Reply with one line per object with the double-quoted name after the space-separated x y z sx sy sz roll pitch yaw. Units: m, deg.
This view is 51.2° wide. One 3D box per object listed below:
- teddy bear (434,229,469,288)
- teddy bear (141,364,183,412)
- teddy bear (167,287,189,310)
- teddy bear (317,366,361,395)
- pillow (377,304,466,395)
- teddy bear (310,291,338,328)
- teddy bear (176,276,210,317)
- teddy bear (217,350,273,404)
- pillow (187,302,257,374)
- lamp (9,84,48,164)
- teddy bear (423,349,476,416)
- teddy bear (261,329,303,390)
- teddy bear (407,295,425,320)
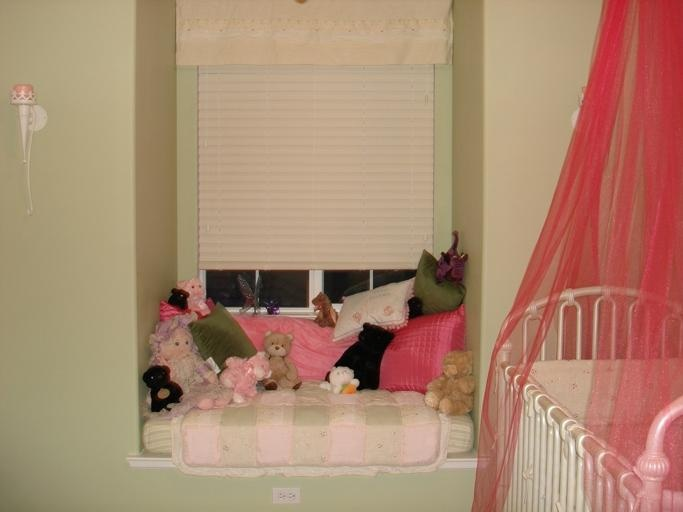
0.614 0.003 3.953 0.195 0.297 0.125 -2 -6 21 "teddy bear"
-0.925 0.690 3.712 0.204 0.244 0.132 0 -6 3 "teddy bear"
-0.907 0.242 3.988 0.079 0.118 0.125 -2 -7 24 "teddy bear"
-0.020 0.654 3.913 0.180 0.144 0.207 3 11 4 "teddy bear"
0.438 0.518 3.863 0.136 0.467 0.449 26 -25 -36 "pillow"
-0.087 0.321 4.278 0.166 0.220 0.161 5 14 17 "teddy bear"
-0.844 0.251 4.133 0.169 0.256 0.140 -12 2 -30 "teddy bear"
-0.496 0.611 3.901 0.331 0.155 0.335 -1 10 18 "teddy bear"
-0.644 0.443 3.864 0.094 0.307 0.318 -32 -1 42 "pillow"
-1.606 -0.661 3.576 0.193 0.395 0.208 0 -6 6 "lamp"
0.579 0.662 3.769 0.246 0.339 0.244 2 2 -31 "teddy bear"
-0.340 0.601 4.021 0.227 0.326 0.261 4 3 -4 "teddy bear"
0.420 0.296 4.043 0.096 0.112 0.040 -2 -4 -5 "teddy bear"
